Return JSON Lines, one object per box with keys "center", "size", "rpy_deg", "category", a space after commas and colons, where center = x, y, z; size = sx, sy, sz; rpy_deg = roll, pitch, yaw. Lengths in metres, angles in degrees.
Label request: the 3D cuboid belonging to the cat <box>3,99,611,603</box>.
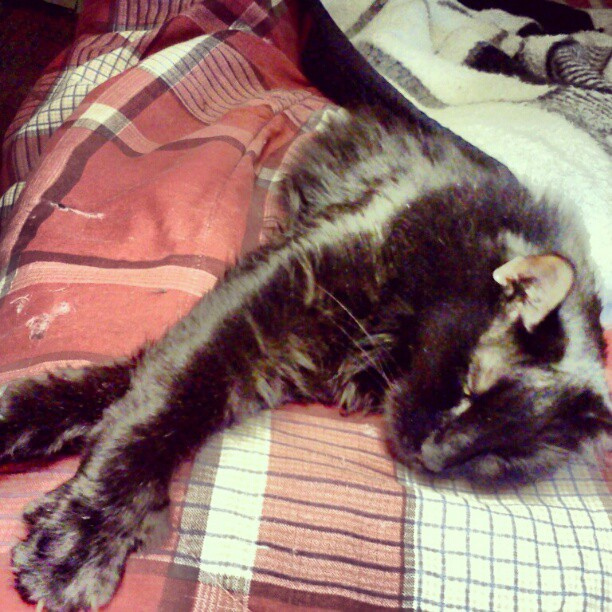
{"center": [0.023, 0.073, 1.500], "size": [1.230, 0.305, 0.925], "rpy_deg": [-24, 66, -7], "category": "cat"}
